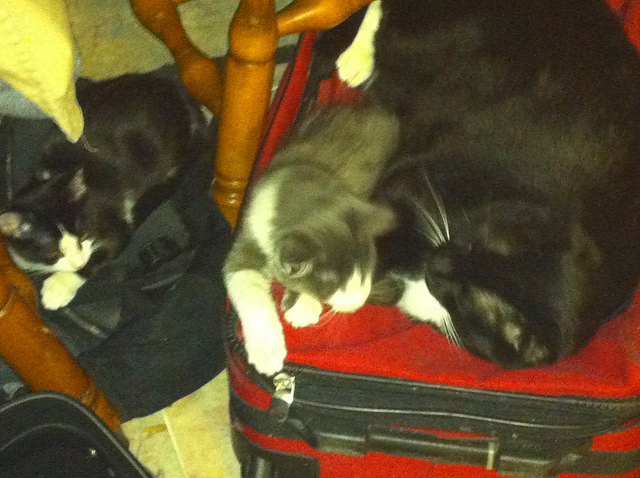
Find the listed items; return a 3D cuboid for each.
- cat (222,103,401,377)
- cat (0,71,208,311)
[{"bbox_3d":[-0.007,0.001,2.515,0.547,0.301,0.594,-4,83,1],"label":"cat"},{"bbox_3d":[-0.540,-0.122,2.798,0.486,0.317,0.702,37,80,7],"label":"cat"}]
